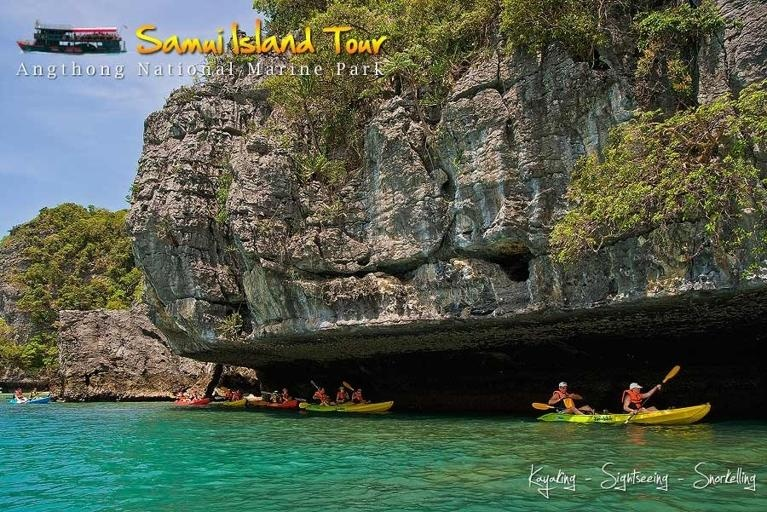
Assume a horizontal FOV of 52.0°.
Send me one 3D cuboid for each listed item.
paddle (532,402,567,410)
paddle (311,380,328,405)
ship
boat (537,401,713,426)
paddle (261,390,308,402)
[{"bbox_3d":[6.066,5.511,29.038,0.246,0.343,1.492,-18,-16,37],"label":"paddle"},{"bbox_3d":[-2.605,6.085,34.486,0.544,0.691,1.327,-12,17,-33],"label":"paddle"},{"bbox_3d":[-12.055,-8.253,30.055,3.652,1.225,0.775,-5,7,-21],"label":"ship"},{"bbox_3d":[8.504,5.392,27.056,5.130,0.831,0.496,-3,-4,26],"label":"boat"},{"bbox_3d":[-4.566,6.558,36.897,0.559,0.303,2.700,-2,-6,-29],"label":"paddle"}]
